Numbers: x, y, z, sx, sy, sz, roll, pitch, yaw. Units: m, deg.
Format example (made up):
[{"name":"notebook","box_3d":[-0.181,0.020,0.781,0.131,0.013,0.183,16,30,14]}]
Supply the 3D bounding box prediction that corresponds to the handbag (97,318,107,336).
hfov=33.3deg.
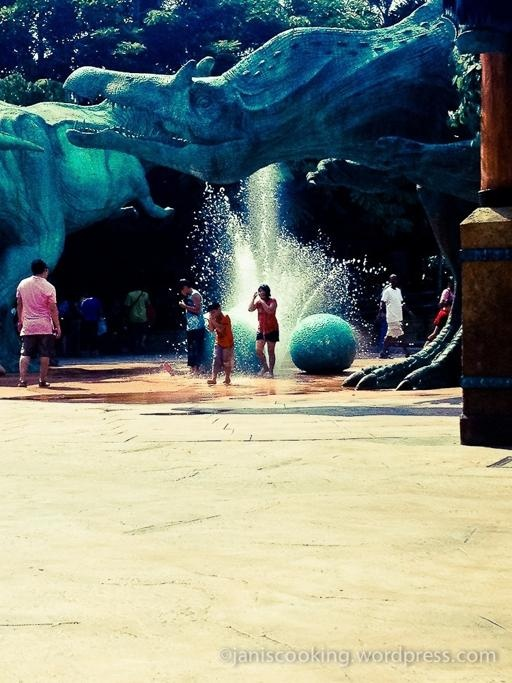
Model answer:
[{"name":"handbag","box_3d":[-3.589,-0.340,19.849,0.233,0.233,0.622,-1,-26,-1]}]

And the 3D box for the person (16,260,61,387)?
[{"name":"person","box_3d":[-2.451,-0.214,9.610,0.468,1.414,0.681,-1,2,-14]}]

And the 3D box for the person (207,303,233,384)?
[{"name":"person","box_3d":[-0.414,0.023,9.682,0.285,0.895,0.697,0,2,-3]}]
